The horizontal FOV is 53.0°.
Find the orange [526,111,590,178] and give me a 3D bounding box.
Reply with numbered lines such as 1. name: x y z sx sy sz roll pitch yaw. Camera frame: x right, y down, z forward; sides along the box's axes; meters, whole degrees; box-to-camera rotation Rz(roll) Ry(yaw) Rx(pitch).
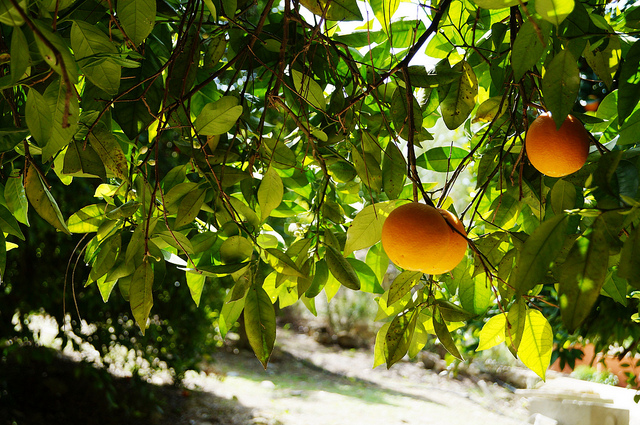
1. orange: 0.700 -0.213 1.875 0.180 0.232 0.190 -13 17 -17

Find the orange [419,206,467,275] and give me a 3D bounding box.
1. orange: 0.355 0.062 1.830 0.158 0.208 0.166 8 7 10

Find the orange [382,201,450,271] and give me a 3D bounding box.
1. orange: 0.268 0.066 1.847 0.161 0.190 0.159 -4 4 -12
